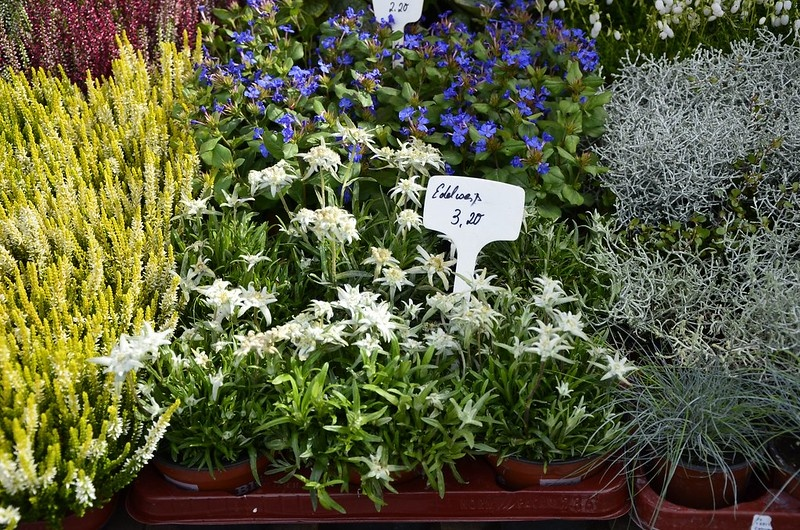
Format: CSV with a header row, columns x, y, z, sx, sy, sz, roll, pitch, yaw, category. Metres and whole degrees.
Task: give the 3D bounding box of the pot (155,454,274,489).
x,y,z,sx,sy,sz,roll,pitch,yaw,category
-0.607,0.726,2.394,0.280,0.101,0.294,-11,-8,-2,pot
